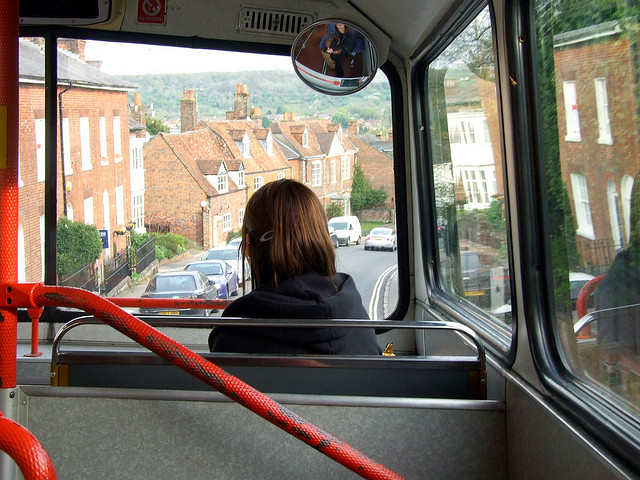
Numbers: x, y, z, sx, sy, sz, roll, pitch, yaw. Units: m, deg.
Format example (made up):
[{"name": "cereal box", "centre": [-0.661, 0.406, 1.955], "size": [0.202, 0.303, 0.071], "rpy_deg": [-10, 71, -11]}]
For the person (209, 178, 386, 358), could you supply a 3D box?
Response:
[{"name": "person", "centre": [-0.124, 0.148, 2.316], "size": [0.772, 0.826, 0.376], "rpy_deg": [-2, 3, 6]}]
